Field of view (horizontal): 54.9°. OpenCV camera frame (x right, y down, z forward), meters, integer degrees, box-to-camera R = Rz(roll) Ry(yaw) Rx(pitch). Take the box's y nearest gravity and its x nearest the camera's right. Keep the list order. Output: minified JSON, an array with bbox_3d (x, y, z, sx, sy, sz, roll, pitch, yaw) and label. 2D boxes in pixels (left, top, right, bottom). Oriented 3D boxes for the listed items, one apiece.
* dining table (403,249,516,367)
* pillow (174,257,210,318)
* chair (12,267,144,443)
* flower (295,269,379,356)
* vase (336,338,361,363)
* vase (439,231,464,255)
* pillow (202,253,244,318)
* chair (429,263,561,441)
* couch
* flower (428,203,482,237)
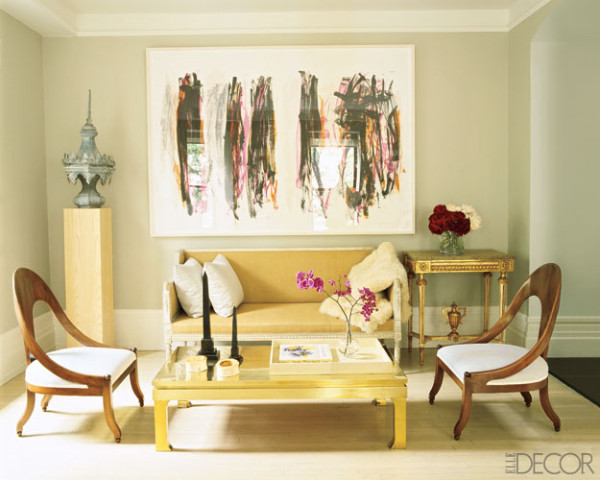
[{"bbox_3d":[1.574,0.654,5.869,0.950,1.121,0.759,1,8,8],"label":"dining table"},{"bbox_3d":[-1.080,0.421,5.661,0.302,0.580,0.612,-5,11,-1],"label":"pillow"},{"bbox_3d":[-1.877,0.895,5.057,1.068,1.692,1.094,0,3,3],"label":"chair"},{"bbox_3d":[0.422,0.697,5.161,0.427,0.557,0.373,7,12,23],"label":"flower"},{"bbox_3d":[0.365,0.856,4.421,0.142,0.229,0.154,1,5,21],"label":"vase"},{"bbox_3d":[1.469,0.032,5.639,0.189,0.235,0.208,0,-2,-4],"label":"vase"},{"bbox_3d":[-0.867,0.447,5.699,0.276,0.588,0.645,0,5,-12],"label":"pillow"},{"bbox_3d":[1.544,0.838,4.606,0.846,1.353,0.825,4,6,5],"label":"chair"},{"bbox_3d":[-0.151,0.709,5.609,2.116,1.190,0.809,-1,11,4],"label":"couch"},{"bbox_3d":[1.524,-0.180,5.779,0.496,0.355,0.524,-4,6,-8],"label":"flower"}]
